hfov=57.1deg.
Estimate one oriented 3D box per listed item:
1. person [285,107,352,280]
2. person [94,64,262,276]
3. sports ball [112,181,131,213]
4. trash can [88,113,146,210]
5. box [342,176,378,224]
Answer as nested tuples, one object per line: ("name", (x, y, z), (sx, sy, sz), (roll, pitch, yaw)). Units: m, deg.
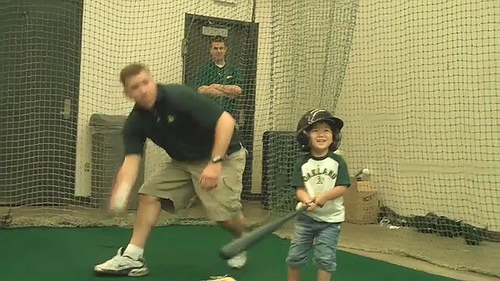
("person", (0.753, 0.607, 4.903), (0.618, 1.826, 0.564), (4, 11, 9))
("person", (-0.877, 0.352, 5.391), (1.624, 2.433, 0.646), (-1, 11, -17))
("sports ball", (-1.429, 0.636, 5.119), (0.160, 0.308, 0.284), (2, 10, -1))
("trash can", (-2.432, 0.342, 7.769), (0.684, 1.568, 0.509), (1, 11, -7))
("box", (1.945, 1.025, 8.051), (0.467, 0.707, 0.565), (15, -3, -18))
